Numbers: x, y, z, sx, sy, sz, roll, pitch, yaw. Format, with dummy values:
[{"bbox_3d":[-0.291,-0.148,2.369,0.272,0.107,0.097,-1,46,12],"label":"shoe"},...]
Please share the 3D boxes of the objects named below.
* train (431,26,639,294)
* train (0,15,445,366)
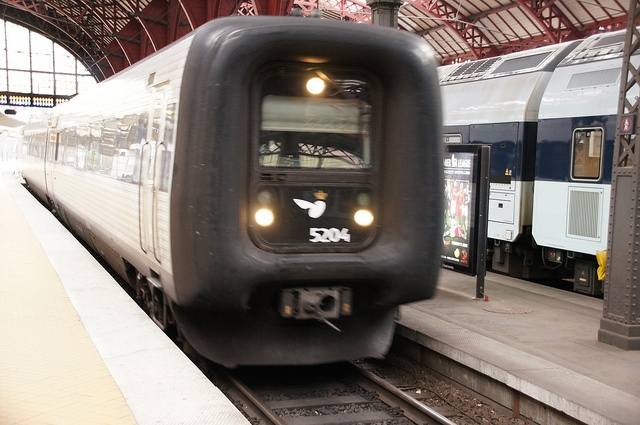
[{"bbox_3d":[4.350,-1.046,8.258,0.757,3.323,3.374,2,4,-28],"label":"train"},{"bbox_3d":[-1.333,-0.158,5.426,5.144,4.064,2.069,7,5,41],"label":"train"}]
